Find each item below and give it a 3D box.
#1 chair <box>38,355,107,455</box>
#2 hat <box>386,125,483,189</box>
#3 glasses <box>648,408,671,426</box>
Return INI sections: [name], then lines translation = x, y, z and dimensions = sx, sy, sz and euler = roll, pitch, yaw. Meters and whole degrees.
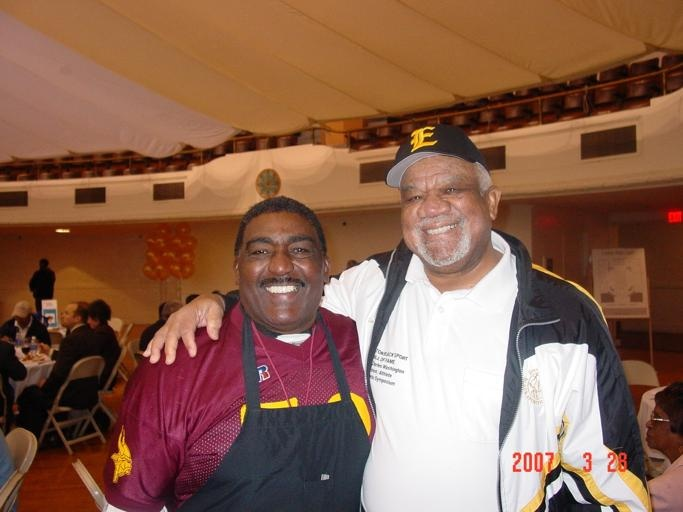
[chair]
translation = -3.102, 1.602, 6.136
dimensions = 0.706, 1.090, 0.826
euler = 18, -1, -39
[hat]
translation = 0.419, -0.523, 2.686
dimensions = 0.401, 0.260, 0.539
euler = -11, -8, 3
[glasses]
translation = 2.240, 1.129, 3.677
dimensions = 0.111, 0.031, 0.114
euler = 1, -24, 44
